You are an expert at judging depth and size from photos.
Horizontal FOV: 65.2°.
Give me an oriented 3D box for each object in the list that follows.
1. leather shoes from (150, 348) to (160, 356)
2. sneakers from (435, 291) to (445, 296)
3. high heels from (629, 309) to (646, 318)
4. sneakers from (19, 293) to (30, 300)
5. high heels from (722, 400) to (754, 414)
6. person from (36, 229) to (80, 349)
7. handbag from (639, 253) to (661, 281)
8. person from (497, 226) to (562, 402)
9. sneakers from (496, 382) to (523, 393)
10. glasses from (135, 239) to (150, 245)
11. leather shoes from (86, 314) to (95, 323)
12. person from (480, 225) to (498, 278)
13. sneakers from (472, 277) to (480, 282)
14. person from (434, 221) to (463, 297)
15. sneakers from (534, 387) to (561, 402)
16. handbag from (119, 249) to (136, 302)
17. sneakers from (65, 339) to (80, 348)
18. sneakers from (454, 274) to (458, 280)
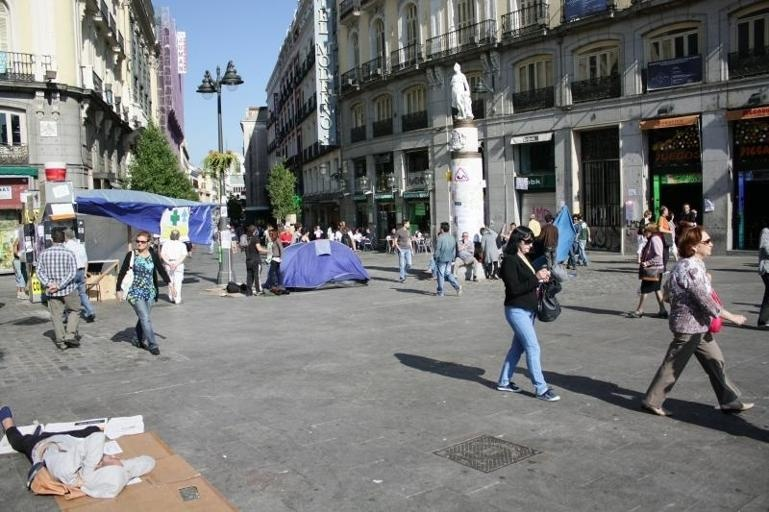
[{"bbox_3d":[-4.276,1.796,11.214,0.103,0.090,0.169,-8,1,-42],"label":"leather shoes"},{"bbox_3d":[1.565,1.086,17.130,0.242,0.127,0.454,0,8,8],"label":"sneakers"},{"bbox_3d":[5.588,1.301,13.291,0.357,0.161,0.132,5,12,35],"label":"high heels"},{"bbox_3d":[-11.475,1.284,19.149,0.524,0.244,0.203,1,3,34],"label":"sneakers"},{"bbox_3d":[4.682,1.983,7.945,0.511,0.158,0.110,-3,7,-13],"label":"high heels"},{"bbox_3d":[-6.494,0.672,12.094,0.772,2.408,0.724,-6,8,-43],"label":"person"},{"bbox_3d":[5.724,0.251,12.945,0.539,0.800,0.270,0,-4,34],"label":"handbag"},{"bbox_3d":[2.037,0.821,8.688,0.819,2.418,0.425,2,7,20],"label":"person"},{"bbox_3d":[1.857,1.961,8.937,0.306,0.143,0.132,-2,2,3],"label":"sneakers"},{"bbox_3d":[-4.662,-0.282,11.617,0.204,0.126,0.226,-5,8,-27],"label":"glasses"},{"bbox_3d":[-7.110,1.505,14.565,0.189,0.161,0.364,-5,8,-28],"label":"leather shoes"},{"bbox_3d":[3.560,-0.064,20.330,0.584,1.714,0.602,1,7,11],"label":"person"},{"bbox_3d":[3.085,0.812,20.134,0.245,0.177,0.083,-3,8,34],"label":"sneakers"},{"bbox_3d":[1.839,0.132,17.502,0.884,2.102,0.623,3,5,16],"label":"person"},{"bbox_3d":[2.322,1.976,8.567,0.325,0.150,0.165,-1,11,-6],"label":"sneakers"},{"bbox_3d":[-5.027,0.409,11.812,0.211,0.885,0.517,10,-4,-6],"label":"handbag"},{"bbox_3d":[-6.156,1.709,11.884,0.244,0.189,0.232,-4,8,-26],"label":"sneakers"},{"bbox_3d":[2.337,0.703,19.718,0.189,0.159,0.275,-7,-12,19],"label":"sneakers"}]
